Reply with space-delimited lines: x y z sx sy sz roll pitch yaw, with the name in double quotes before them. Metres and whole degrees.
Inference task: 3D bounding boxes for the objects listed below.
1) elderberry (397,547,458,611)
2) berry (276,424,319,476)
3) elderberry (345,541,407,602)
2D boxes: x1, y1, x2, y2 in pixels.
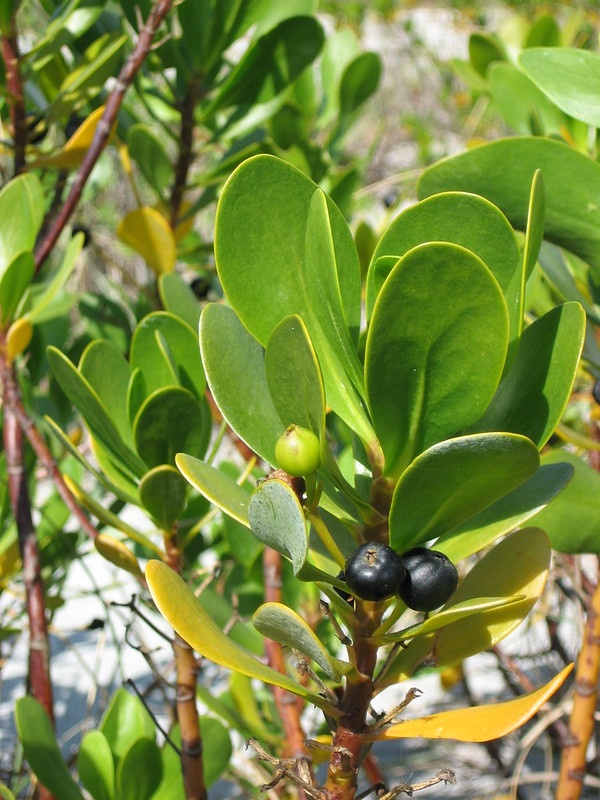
"elderberry" 0.079 0.112 0.508 0.039 0.040 0.034 4 25 -4
"berry" -0.002 0.030 0.477 0.027 0.031 0.027 0 18 19
"elderberry" 0.044 0.102 0.495 0.037 0.033 0.035 5 -8 -3
